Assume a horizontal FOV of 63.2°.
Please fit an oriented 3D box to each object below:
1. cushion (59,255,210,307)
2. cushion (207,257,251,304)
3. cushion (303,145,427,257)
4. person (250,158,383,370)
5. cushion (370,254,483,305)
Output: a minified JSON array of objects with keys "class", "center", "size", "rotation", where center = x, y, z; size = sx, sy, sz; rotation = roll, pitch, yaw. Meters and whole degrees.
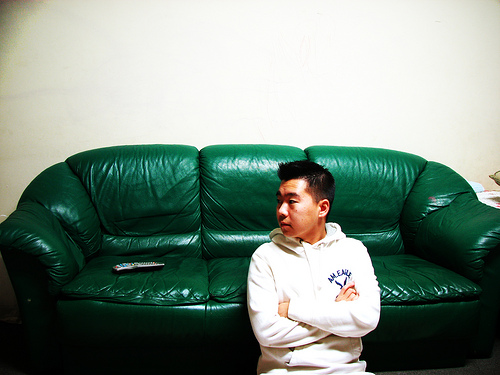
[{"class":"cushion","center":[-0.666,0.557,2.478],"size":[0.854,0.195,0.486],"rotation":[-4,8,-2]},{"class":"cushion","center":[-0.129,0.559,2.416],"size":[0.241,0.080,0.224],"rotation":[3,20,2]},{"class":"cushion","center":[0.972,0.183,3.182],"size":[0.538,0.821,0.919],"rotation":[1,5,-42]},{"class":"person","center":[0.308,0.395,2.062],"size":[0.644,1.034,0.393],"rotation":[-4,10,-2]},{"class":"cushion","center":[1.060,0.571,2.551],"size":[0.663,0.174,0.449],"rotation":[-4,8,-4]}]
